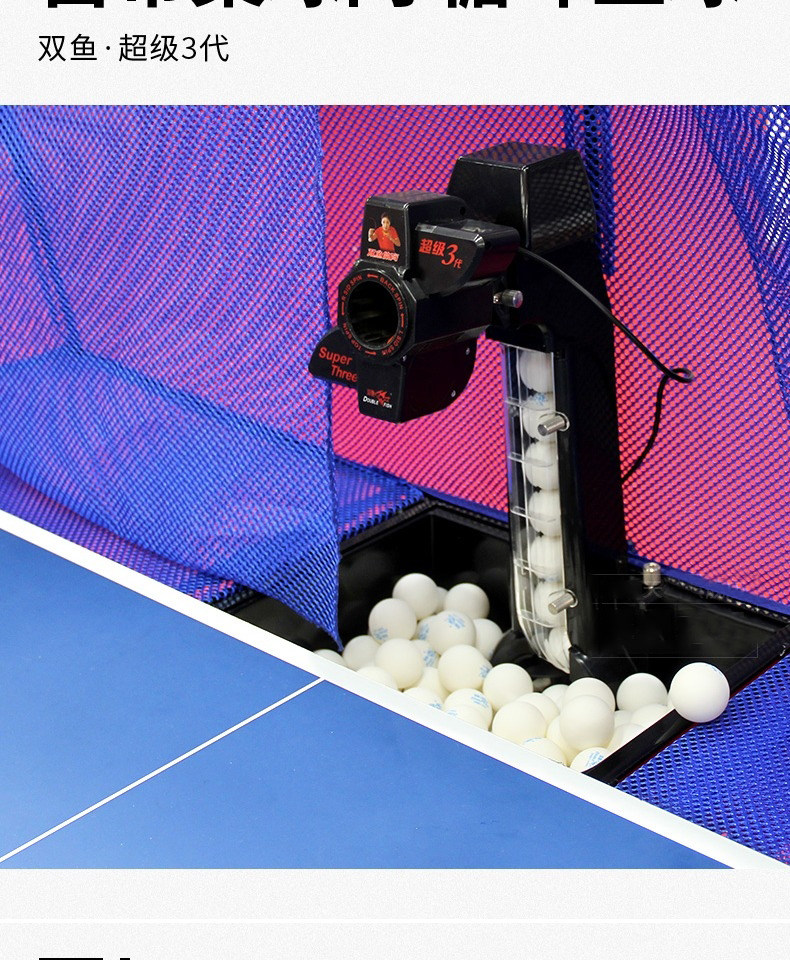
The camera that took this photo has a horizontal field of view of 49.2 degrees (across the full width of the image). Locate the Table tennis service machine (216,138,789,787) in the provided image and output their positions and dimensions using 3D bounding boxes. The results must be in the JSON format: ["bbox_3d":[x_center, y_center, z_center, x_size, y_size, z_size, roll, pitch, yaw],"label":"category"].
[{"bbox_3d":[0.038,-0.129,1.193,0.640,0.691,0.650,17,28,42],"label":"Table tennis service machine"}]
